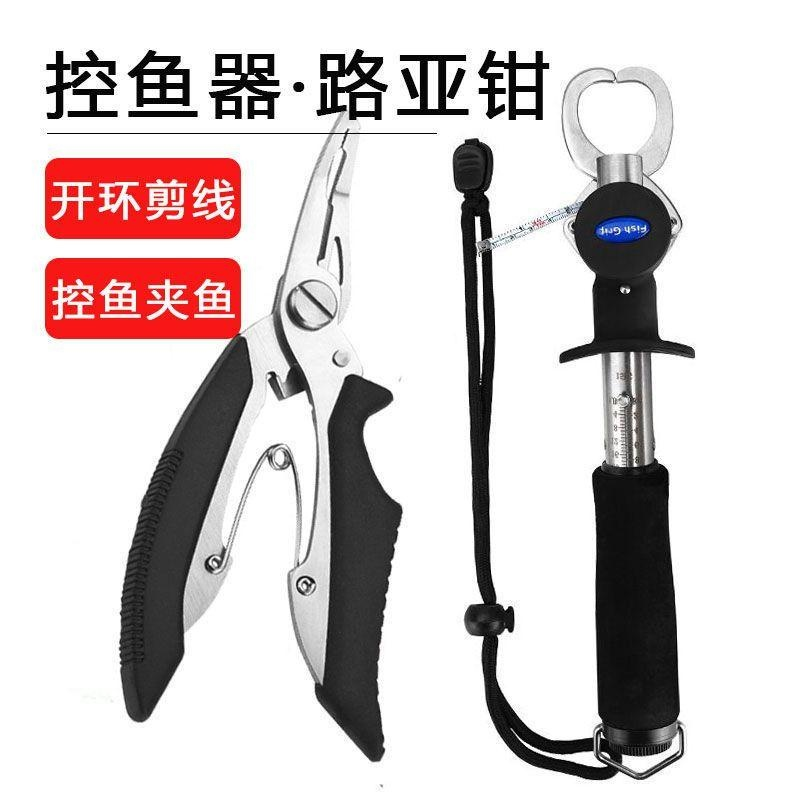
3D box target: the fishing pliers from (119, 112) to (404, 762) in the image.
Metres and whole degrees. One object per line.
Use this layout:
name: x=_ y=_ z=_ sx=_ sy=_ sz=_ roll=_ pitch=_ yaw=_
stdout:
fishing pliers: x=-0.172 y=0.045 z=1.362 sx=0.371 sy=0.875 sz=0.061 roll=1 pitch=-3 yaw=-24

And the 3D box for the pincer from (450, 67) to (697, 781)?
pincer: x=0.243 y=0.012 z=1.372 sx=0.254 sy=0.963 sz=0.132 roll=-1 pitch=-10 yaw=7

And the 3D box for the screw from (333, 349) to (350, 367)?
screw: x=-0.077 y=-0.056 z=1.408 sx=0.019 sy=0.022 sz=0.005 roll=-5 pitch=5 yaw=-26
